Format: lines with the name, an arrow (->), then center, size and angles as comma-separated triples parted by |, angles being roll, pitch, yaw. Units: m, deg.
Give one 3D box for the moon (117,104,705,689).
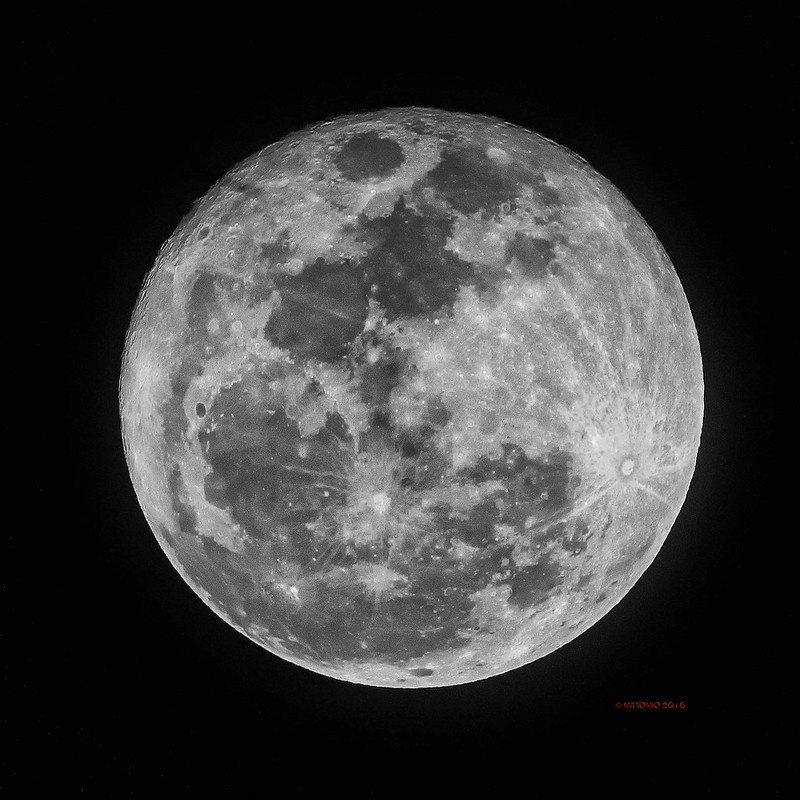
moon -> 0.056, 0.056, 5.661 | 2.863, 1.142, 2.811 | 1, 79, -3
